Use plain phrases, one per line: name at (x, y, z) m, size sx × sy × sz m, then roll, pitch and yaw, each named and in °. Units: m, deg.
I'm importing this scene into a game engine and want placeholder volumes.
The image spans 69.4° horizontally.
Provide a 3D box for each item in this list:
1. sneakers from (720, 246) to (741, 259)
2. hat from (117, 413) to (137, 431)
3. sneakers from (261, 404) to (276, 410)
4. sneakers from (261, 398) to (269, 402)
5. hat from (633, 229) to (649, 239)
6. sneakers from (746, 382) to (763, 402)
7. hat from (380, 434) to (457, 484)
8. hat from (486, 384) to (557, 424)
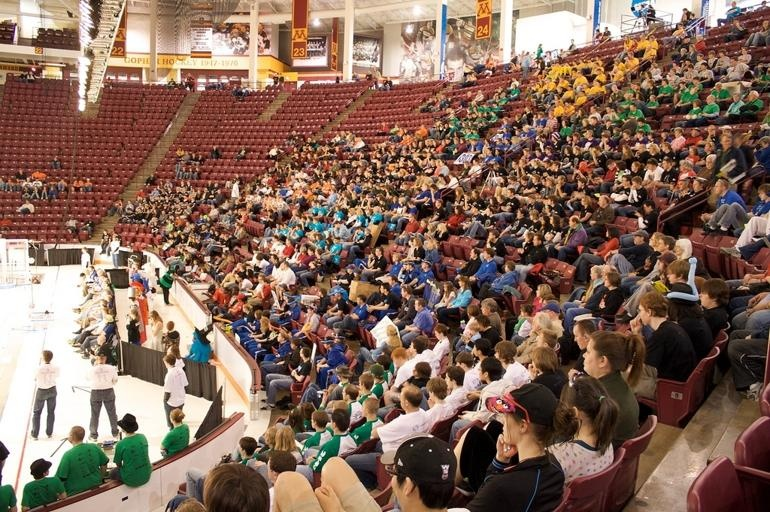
sneakers at (6.152, -0.073, 9.903) m, size 0.137 × 0.123 × 0.318 m, roll -43°, pitch 50°, yaw -17°
hat at (-4.242, 2.763, 9.171) m, size 0.254 × 0.341 × 0.286 m, roll -5°, pitch 5°, yaw -19°
sneakers at (-2.469, 3.179, 11.723) m, size 0.276 × 0.129 × 0.103 m, roll 6°, pitch 1°, yaw -5°
sneakers at (-2.547, 3.056, 11.734) m, size 0.144 × 0.104 × 0.049 m, roll 9°, pitch -5°, yaw -29°
hat at (5.037, -0.436, 10.891) m, size 0.208 × 0.117 × 0.150 m, roll 22°, pitch 13°, yaw 27°
sneakers at (4.660, 1.724, 6.991) m, size 0.100 × 0.255 × 0.085 m, roll 21°, pitch -6°, yaw -13°
hat at (0.299, 1.578, 4.521) m, size 0.658 × 0.311 × 0.502 m, roll 6°, pitch 1°, yaw 26°
hat at (1.254, 1.349, 4.993) m, size 0.465 × 0.261 × 0.317 m, roll 18°, pitch 11°, yaw 25°
